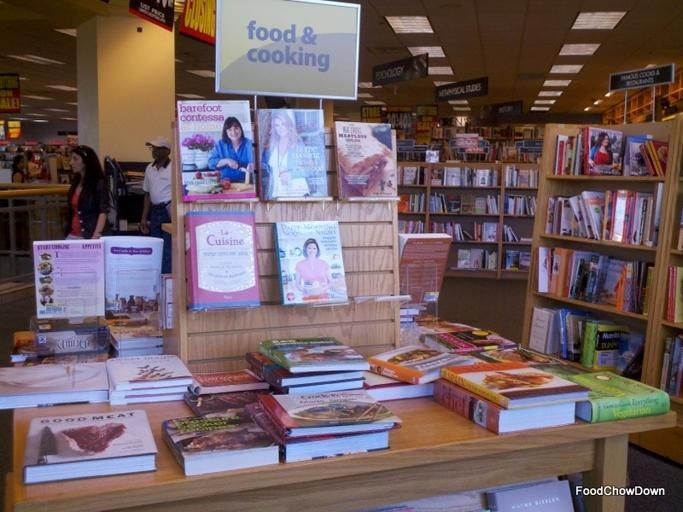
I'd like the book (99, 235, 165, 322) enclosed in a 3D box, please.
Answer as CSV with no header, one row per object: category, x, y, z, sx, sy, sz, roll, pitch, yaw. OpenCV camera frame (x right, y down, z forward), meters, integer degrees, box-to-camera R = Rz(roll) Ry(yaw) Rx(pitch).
book,-0.962,0.110,2.621,0.338,0.392,0.247,-1,5,9

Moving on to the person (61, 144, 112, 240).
person,-2.720,-0.701,5.653,0.644,0.996,0.377,5,9,40

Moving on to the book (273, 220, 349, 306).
book,-0.120,0.035,2.055,0.330,0.314,0.075,1,-10,-25

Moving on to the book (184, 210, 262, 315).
book,-0.443,0.031,1.941,0.293,0.359,0.097,-5,-5,-15
